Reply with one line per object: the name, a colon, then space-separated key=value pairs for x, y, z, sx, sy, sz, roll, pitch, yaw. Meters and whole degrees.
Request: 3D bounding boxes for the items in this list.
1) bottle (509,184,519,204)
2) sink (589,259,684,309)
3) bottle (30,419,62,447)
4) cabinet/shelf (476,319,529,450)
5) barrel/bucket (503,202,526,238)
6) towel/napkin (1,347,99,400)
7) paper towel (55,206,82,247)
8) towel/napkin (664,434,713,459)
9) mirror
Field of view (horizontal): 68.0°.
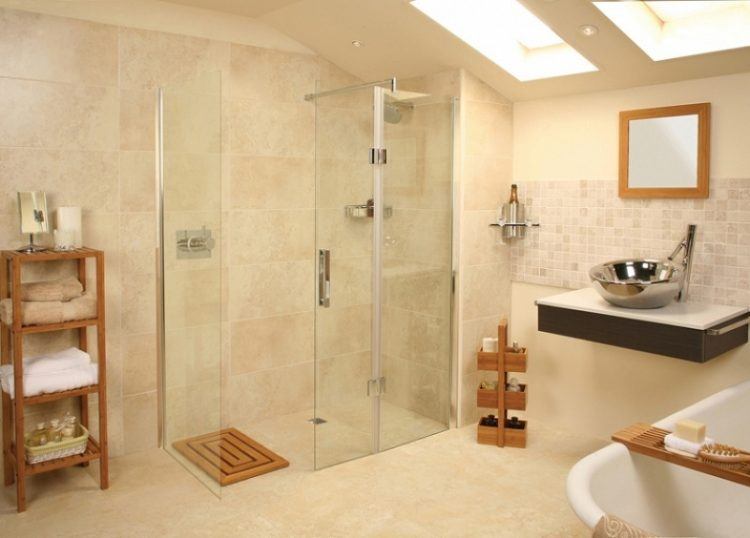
bottle: x=1.043 y=-0.559 z=4.128 sx=0.071 sy=0.130 sz=0.109 roll=4 pitch=15 yaw=14
sink: x=1.584 y=0.086 z=3.390 sx=0.514 sy=0.235 sz=0.540 roll=7 pitch=15 yaw=26
bottle: x=-1.889 y=0.944 z=3.189 sx=0.164 sy=0.104 sz=0.106 roll=-8 pitch=17 yaw=-32
cabinet/shelf: x=0.902 y=0.767 z=3.882 sx=0.373 sy=0.818 sz=0.440 roll=3 pitch=15 yaw=10
barrel/bucket: x=1.043 y=-0.350 z=4.133 sx=0.184 sy=0.286 sz=0.104 roll=4 pitch=15 yaw=12
towel/napkin: x=-1.868 y=0.570 z=3.172 sx=0.306 sy=0.101 sz=0.320 roll=-1 pitch=2 yaw=32
paper towel: x=-1.837 y=-0.259 z=3.312 sx=0.154 sy=0.227 sz=0.153 roll=2 pitch=-3 yaw=38
towel/napkin: x=1.372 y=0.769 z=2.425 sx=0.108 sy=0.039 sz=0.105 roll=1 pitch=2 yaw=-37
mirror: x=1.825 y=-0.731 z=3.435 sx=0.682 sy=0.637 sz=0.047 roll=4 pitch=7 yaw=42
